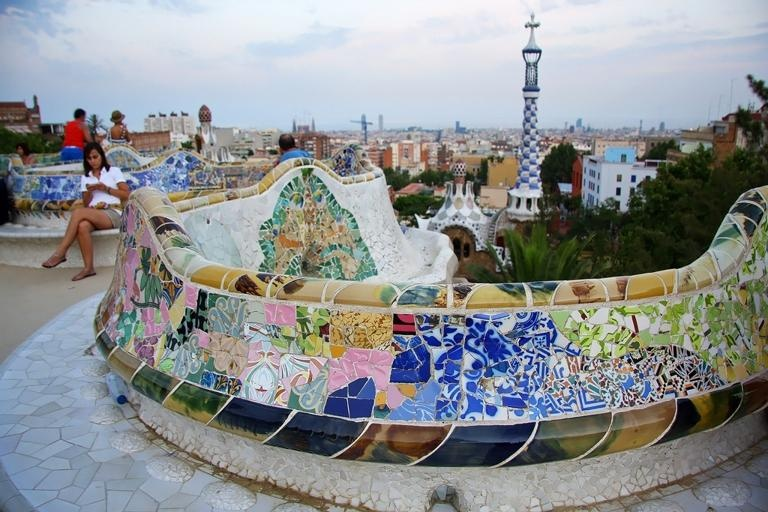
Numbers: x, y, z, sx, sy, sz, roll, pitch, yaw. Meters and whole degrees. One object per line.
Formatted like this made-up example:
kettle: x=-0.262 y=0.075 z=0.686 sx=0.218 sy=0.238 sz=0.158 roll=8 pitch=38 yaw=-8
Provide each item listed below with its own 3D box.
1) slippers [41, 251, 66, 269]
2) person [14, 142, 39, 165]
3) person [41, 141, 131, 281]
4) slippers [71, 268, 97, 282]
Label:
slippers: x=-3.815 y=0.048 z=6.660 sx=0.155 sy=0.147 sz=0.340 roll=8 pitch=9 yaw=35
person: x=-6.725 y=-1.947 z=10.706 sx=0.292 sy=0.520 sz=0.955 roll=0 pitch=1 yaw=-32
person: x=-3.403 y=-0.508 z=6.771 sx=0.764 sy=1.594 sz=0.697 roll=0 pitch=1 yaw=18
slippers: x=-3.559 y=0.215 z=6.825 sx=0.307 sy=0.126 sz=0.102 roll=-12 pitch=24 yaw=-38
